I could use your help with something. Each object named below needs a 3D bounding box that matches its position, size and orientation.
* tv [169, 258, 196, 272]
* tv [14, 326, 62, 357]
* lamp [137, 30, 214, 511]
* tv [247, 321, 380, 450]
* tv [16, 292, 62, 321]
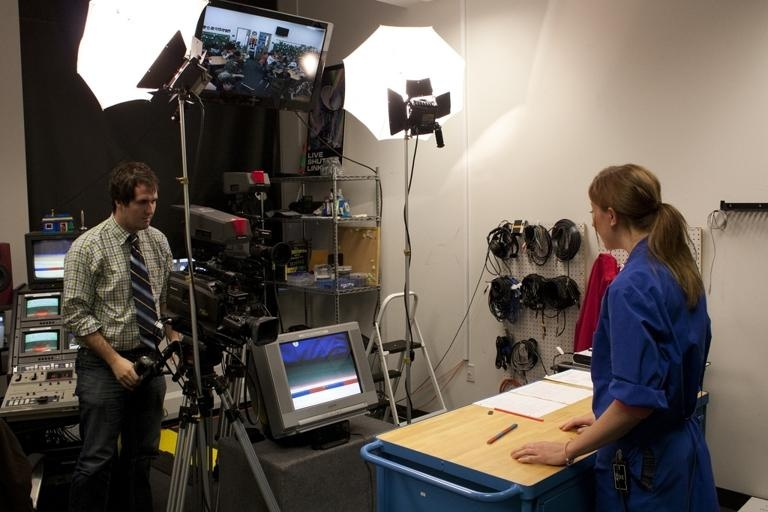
[{"bbox_3d":[-1.533,0.074,4.288,0.122,0.119,0.202,-2,3,-27],"label":"tv"},{"bbox_3d":[-2.554,0.625,4.219,0.310,0.221,0.171,0,-22,-18],"label":"tv"},{"bbox_3d":[-1.246,0.061,3.457,0.373,3.050,1.024,-2,4,-20],"label":"lamp"},{"bbox_3d":[-0.459,0.834,3.554,0.704,0.582,0.376,-9,-11,-44],"label":"tv"},{"bbox_3d":[-2.593,0.374,4.273,0.316,0.234,0.180,3,-13,-27],"label":"tv"}]
